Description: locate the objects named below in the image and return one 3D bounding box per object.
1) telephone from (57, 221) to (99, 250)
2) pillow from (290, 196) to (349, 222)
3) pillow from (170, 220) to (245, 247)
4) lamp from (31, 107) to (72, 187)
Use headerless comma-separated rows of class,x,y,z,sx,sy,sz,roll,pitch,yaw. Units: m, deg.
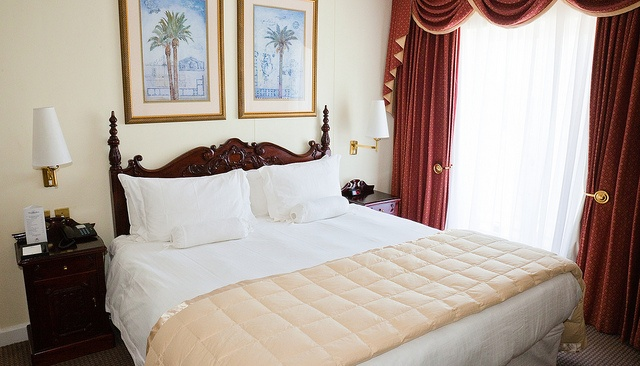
telephone,-2.554,0.537,4.372,0.321,0.113,0.332,-7,35,-31
pillow,0.041,0.312,5.131,0.804,0.271,0.259,-2,14,-45
pillow,-1.181,0.515,4.520,0.794,0.246,0.271,-8,33,-26
lamp,-2.798,-0.355,4.283,0.323,0.832,0.386,-12,14,-32
